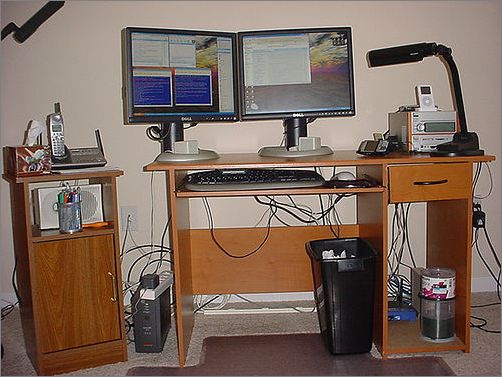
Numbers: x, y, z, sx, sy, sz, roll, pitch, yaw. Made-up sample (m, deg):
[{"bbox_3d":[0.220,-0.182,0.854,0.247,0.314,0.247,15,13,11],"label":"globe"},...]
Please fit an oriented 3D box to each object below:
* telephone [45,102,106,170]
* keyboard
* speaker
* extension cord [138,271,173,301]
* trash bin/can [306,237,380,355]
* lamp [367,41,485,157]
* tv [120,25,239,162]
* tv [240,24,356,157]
[{"bbox_3d":[-0.910,-0.248,2.306,0.261,0.290,0.211,-6,8,-23],"label":"telephone"},{"bbox_3d":[-0.001,-0.045,2.246,0.720,0.104,0.245,-3,7,-3],"label":"keyboard"},{"bbox_3d":[-0.983,0.095,2.365,0.331,0.200,0.179,-5,4,-40],"label":"speaker"},{"bbox_3d":[-0.522,0.578,2.398,0.095,0.073,0.305,3,9,8],"label":"extension cord"},{"bbox_3d":[0.500,0.600,2.418,0.371,0.483,0.433,-1,-3,6],"label":"trash bin/can"},{"bbox_3d":[0.927,-0.493,2.463,0.543,0.612,0.620,-1,8,13],"label":"lamp"},{"bbox_3d":[-0.387,-0.516,2.481,0.675,0.667,0.326,-10,18,-35],"label":"tv"},{"bbox_3d":[0.252,-0.577,2.498,0.794,0.766,0.133,-1,4,-2],"label":"tv"}]
